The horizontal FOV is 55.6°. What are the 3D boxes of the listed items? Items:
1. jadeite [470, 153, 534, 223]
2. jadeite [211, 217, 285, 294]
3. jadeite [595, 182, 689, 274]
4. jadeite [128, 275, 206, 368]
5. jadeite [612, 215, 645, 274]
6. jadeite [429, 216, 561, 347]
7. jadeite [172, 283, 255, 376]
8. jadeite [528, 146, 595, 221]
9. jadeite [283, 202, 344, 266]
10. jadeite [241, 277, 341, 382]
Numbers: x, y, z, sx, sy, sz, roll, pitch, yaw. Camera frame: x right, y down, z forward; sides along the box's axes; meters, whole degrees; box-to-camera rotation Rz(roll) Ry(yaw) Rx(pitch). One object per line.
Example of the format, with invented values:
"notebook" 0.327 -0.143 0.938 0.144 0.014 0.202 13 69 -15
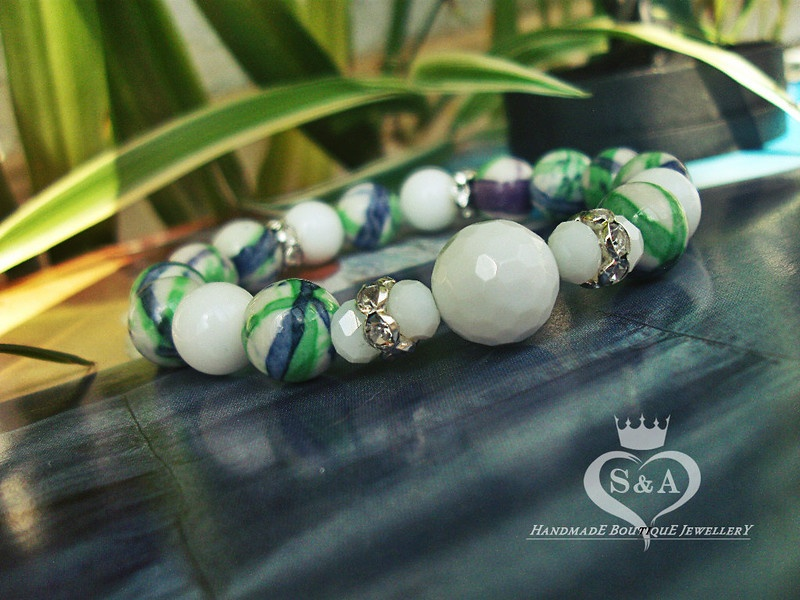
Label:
"jadeite" 0.129 -0.142 0.978 0.092 0.075 0.057 -2 -3 16
"jadeite" -0.196 -0.058 0.955 0.089 0.109 0.094 -4 11 5
"jadeite" 0.257 -0.080 0.822 0.088 0.103 0.086 -1 -7 1
"jadeite" -0.239 0.028 0.826 0.084 0.085 0.052 -19 -12 15
"jadeite" 0.230 -0.057 0.750 0.045 0.033 0.045 -12 29 14
"jadeite" 0.089 -0.016 0.747 0.131 0.131 0.130 7 0 -31
"jadeite" -0.183 0.028 0.796 0.082 0.097 0.083 1 7 19
"jadeite" 0.194 -0.146 0.938 0.084 0.098 0.082 -9 16 -43
"jadeite" -0.109 -0.092 0.989 0.078 0.091 0.075 1 20 -23
"jadeite" -0.104 0.036 0.774 0.090 0.105 0.091 -7 -7 -4
